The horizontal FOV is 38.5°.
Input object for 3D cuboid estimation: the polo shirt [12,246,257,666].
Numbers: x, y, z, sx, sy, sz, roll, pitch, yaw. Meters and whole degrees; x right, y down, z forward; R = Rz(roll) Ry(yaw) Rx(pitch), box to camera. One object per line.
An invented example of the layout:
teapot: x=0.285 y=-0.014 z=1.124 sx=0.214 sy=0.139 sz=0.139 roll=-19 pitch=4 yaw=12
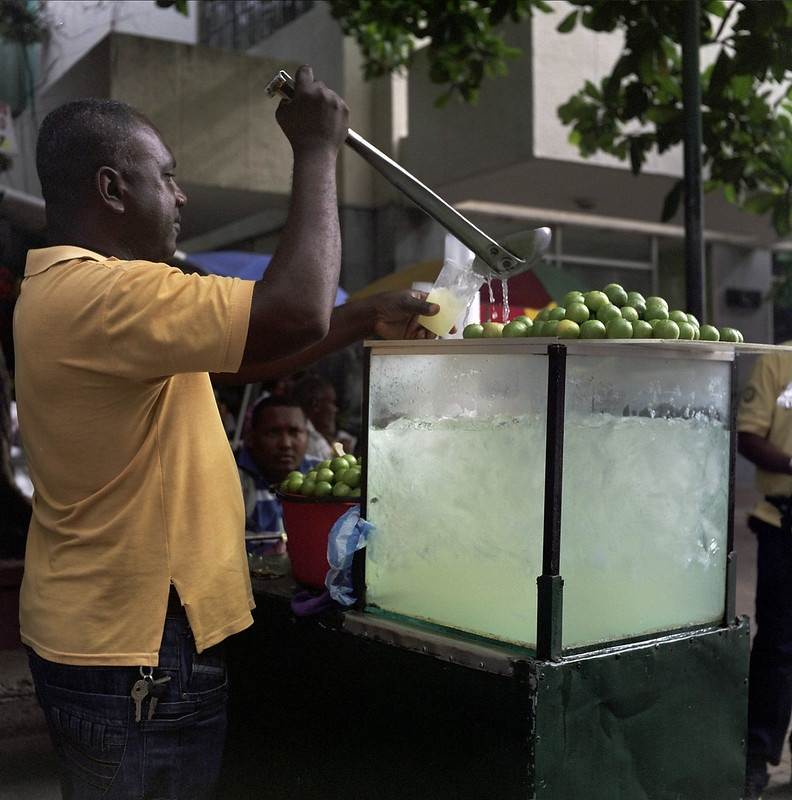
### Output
polo shirt: x=-0.567 y=0.124 z=2.449 sx=0.500 sy=0.895 sz=0.412 roll=-1 pitch=8 yaw=-11

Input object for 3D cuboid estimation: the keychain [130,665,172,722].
keychain: x=-0.536 y=0.636 z=2.458 sx=0.081 sy=0.119 sz=0.026 roll=-2 pitch=8 yaw=-14

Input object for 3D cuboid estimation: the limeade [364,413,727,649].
limeade: x=0.372 y=0.307 z=2.837 sx=0.618 sy=0.465 sz=0.620 roll=5 pitch=-8 yaw=-34

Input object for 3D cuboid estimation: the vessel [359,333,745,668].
vessel: x=0.386 y=0.218 z=2.947 sx=0.761 sy=0.765 sz=0.764 roll=5 pitch=-6 yaw=-39
